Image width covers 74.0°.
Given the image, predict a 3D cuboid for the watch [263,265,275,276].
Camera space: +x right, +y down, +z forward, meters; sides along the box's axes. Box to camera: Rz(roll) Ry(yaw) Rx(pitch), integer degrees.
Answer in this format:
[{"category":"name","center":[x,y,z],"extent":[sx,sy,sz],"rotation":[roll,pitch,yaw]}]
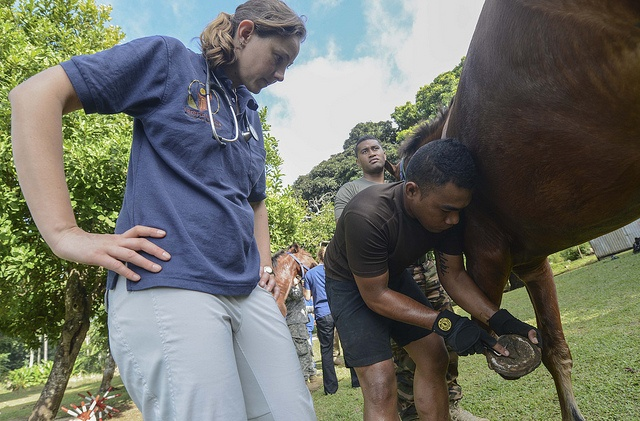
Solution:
[{"category":"watch","center":[-0.317,0.369,2.622],"extent":[0.057,0.062,0.039],"rotation":[-52,4,21]}]

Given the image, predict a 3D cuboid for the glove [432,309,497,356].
[{"category":"glove","center":[0.854,0.762,2.636],"extent":[0.201,0.393,0.109],"rotation":[-52,-25,-23]}]
